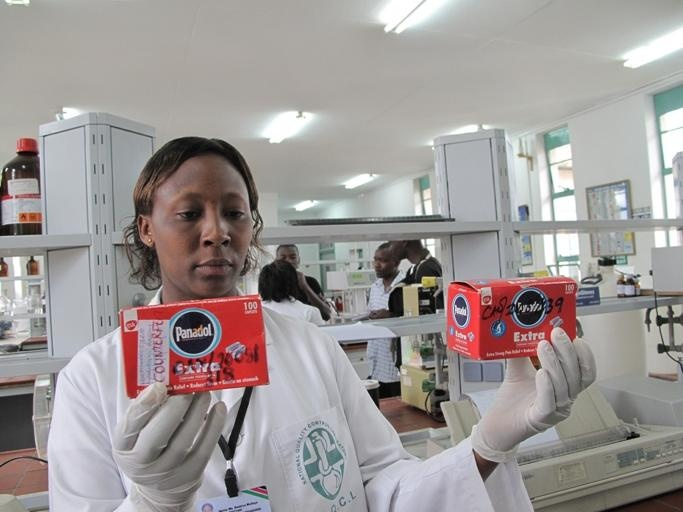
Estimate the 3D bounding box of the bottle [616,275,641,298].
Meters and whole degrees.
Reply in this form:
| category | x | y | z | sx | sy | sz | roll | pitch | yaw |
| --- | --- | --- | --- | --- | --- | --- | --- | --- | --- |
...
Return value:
| category | x | y | z | sx | sy | sz | roll | pitch | yaw |
| --- | --- | --- | --- | --- | --- | --- | --- | --- | --- |
| bottle | 1.776 | 0.188 | 3.085 | 0.137 | 0.151 | 0.138 | 0 | -1 | -10 |
